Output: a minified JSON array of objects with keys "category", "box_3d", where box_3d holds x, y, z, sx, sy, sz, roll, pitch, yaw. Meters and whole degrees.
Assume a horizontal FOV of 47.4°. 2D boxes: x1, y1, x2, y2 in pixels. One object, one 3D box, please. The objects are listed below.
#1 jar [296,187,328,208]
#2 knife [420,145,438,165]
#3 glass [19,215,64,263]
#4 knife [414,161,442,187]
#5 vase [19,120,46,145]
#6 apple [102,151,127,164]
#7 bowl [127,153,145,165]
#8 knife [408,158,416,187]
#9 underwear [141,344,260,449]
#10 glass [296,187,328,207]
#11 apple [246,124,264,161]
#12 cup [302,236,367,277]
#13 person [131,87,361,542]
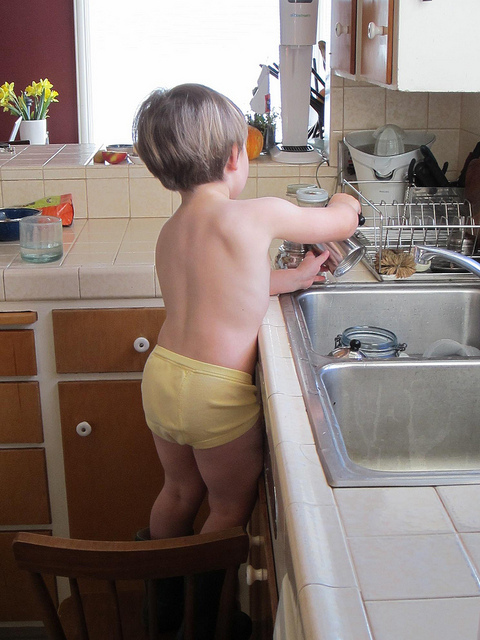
[{"category":"jar","box_3d":[0.161,-0.284,1.250,0.062,0.041,0.063,0,28,0]},{"category":"knife","box_3d":[0.538,-0.479,1.581,0.019,0.080,0.020,-21,51,18]},{"category":"glass","box_3d":[-0.551,-0.224,1.531,0.114,0.120,0.115,7,19,7]},{"category":"knife","box_3d":[0.546,-0.422,1.603,0.048,0.093,0.025,-39,11,26]},{"category":"vase","box_3d":[-1.363,-1.249,3.604,0.158,0.168,0.203,-1,13,-22]},{"category":"apple","box_3d":[-0.446,-0.579,1.935,0.054,0.028,0.053,5,15,-1]},{"category":"bowl","box_3d":[-0.379,-0.585,1.974,0.046,0.047,0.225,0,13,-15]},{"category":"knife","box_3d":[0.499,-0.438,1.607,0.015,0.054,0.053,5,22,21]},{"category":"underwear","box_3d":[-0.076,0.156,1.038,0.223,0.188,0.088,5,13,4]},{"category":"glass","box_3d":[0.161,-0.277,1.228,0.052,0.036,0.052,-6,25,-13]},{"category":"apple","box_3d":[0.052,-0.633,1.958,0.049,0.123,0.111,4,13,1]},{"category":"cup","box_3d":[0.205,-0.139,1.160,0.056,0.052,0.159,-25,25,-23]},{"category":"person","box_3d":[-0.004,0.051,1.079,0.422,0.928,0.204,1,13,-13]}]
